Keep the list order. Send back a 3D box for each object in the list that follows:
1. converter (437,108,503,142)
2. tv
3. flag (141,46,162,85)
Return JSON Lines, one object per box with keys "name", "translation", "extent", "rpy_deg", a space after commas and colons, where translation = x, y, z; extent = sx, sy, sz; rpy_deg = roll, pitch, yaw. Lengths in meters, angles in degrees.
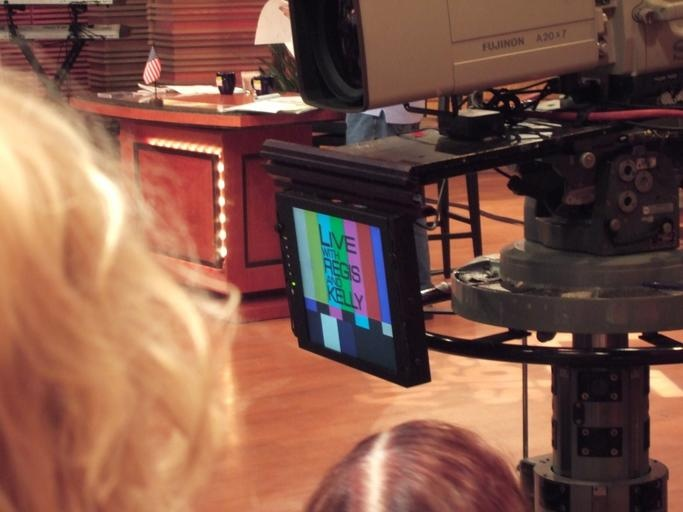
{"name": "converter", "translation": [0.205, -0.208, 1.302], "extent": [0.073, 0.043, 0.101], "rpy_deg": [-12, 18, -30]}
{"name": "tv", "translation": [0.008, 0.043, 1.253], "extent": [0.046, 0.254, 0.302], "rpy_deg": [-12, 17, -41]}
{"name": "flag", "translation": [-1.140, -1.146, 4.986], "extent": [0.099, 0.267, 0.023], "rpy_deg": [-16, 51, -28]}
